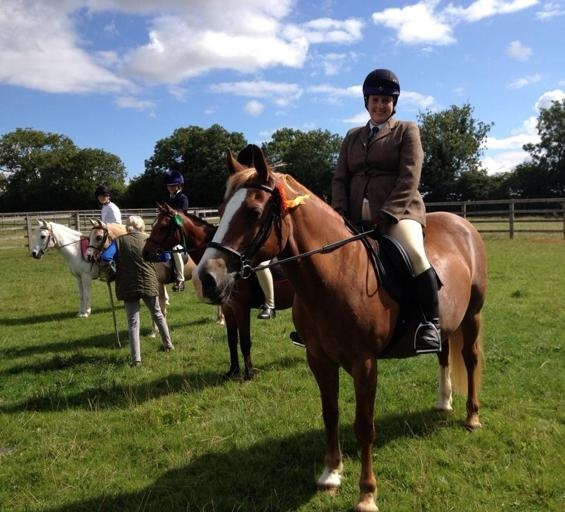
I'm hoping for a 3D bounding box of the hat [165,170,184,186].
[{"bbox_3d":[-2.019,-1.414,9.409,0.217,0.300,0.336,-4,34,-4],"label":"hat"}]

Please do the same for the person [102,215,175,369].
[{"bbox_3d":[-2.234,0.630,7.829,0.977,2.285,0.620,-7,-29,-17],"label":"person"}]

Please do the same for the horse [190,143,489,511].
[{"bbox_3d":[0.758,0.571,4.826,3.291,3.251,0.990,-11,13,-38],"label":"horse"}]
